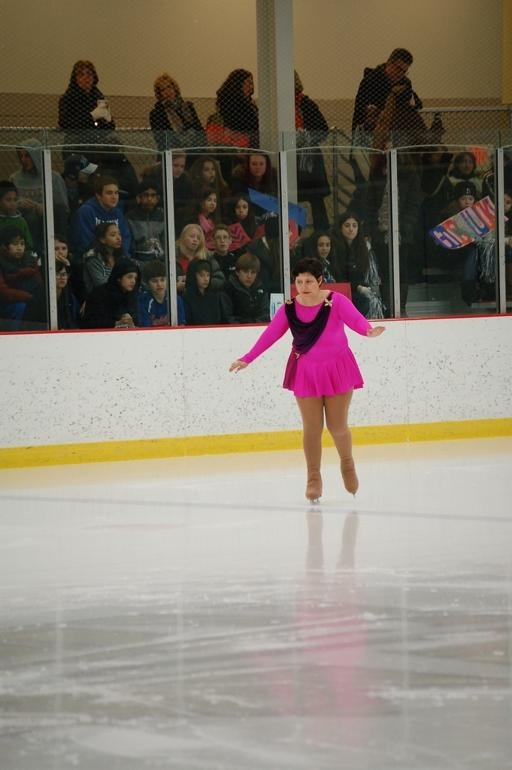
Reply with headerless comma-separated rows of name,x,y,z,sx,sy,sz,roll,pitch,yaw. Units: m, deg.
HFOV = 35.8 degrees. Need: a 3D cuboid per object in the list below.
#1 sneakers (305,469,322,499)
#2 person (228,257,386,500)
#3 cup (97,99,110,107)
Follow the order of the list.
sneakers,0.317,0.535,4.309,0.061,0.078,0.174,-4,36,6
person,0.315,-0.003,4.248,0.718,1.278,0.498,-2,2,4
cup,-1.485,-2.740,7.715,0.073,0.088,0.091,-3,-6,3
